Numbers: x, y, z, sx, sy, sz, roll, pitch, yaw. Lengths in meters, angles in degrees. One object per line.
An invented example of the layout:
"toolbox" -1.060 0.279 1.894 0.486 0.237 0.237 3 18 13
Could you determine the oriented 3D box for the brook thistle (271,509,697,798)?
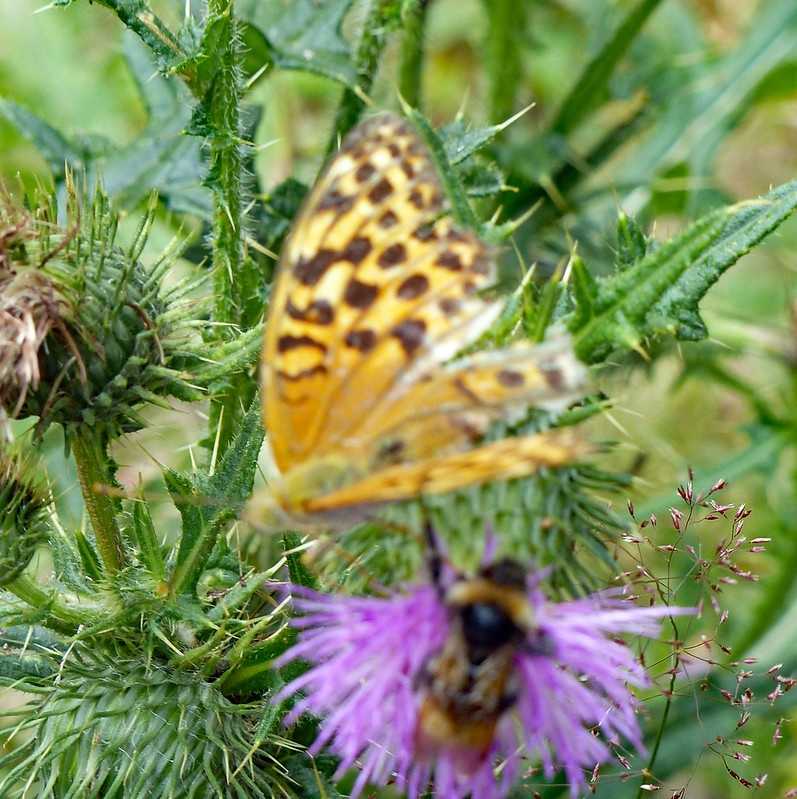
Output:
"brook thistle" 0.077 0.617 2.978 0.996 0.442 0.715 1 94 -15
